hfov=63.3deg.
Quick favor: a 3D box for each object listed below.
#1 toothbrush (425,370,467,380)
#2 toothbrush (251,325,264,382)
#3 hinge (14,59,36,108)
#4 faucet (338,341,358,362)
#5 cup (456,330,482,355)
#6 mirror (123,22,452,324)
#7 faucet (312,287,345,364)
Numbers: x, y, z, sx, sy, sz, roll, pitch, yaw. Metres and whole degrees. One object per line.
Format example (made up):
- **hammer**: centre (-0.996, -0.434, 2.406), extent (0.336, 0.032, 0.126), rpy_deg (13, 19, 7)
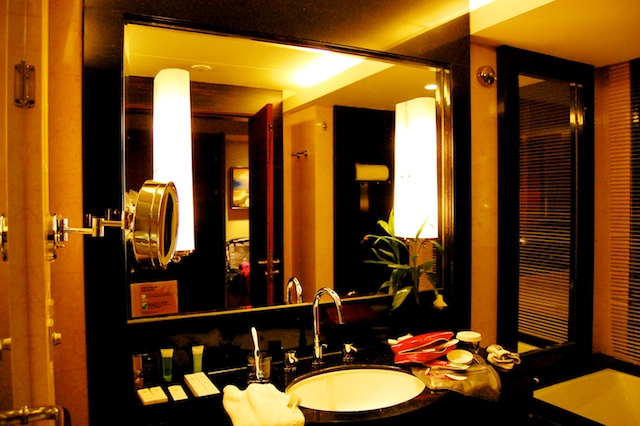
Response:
- **toothbrush**: centre (0.573, 0.734, 2.359), extent (0.179, 0.035, 0.053), rpy_deg (-4, 1, 14)
- **toothbrush**: centre (-0.278, 0.622, 2.306), extent (0.048, 0.231, 0.060), rpy_deg (-3, -3, -15)
- **hinge**: centre (-0.980, -0.431, 1.723), extent (0.067, 0.149, 0.024), rpy_deg (1, 9, -18)
- **faucet**: centre (0.148, 0.673, 2.521), extent (0.080, 0.055, 0.087), rpy_deg (0, -5, -11)
- **cup**: centre (0.750, 0.644, 2.650), extent (0.120, 0.111, 0.117), rpy_deg (0, -1, 0)
- **mirror**: centre (-0.065, -0.053, 2.629), extent (1.680, 1.166, 0.173), rpy_deg (0, 2, 33)
- **faucet**: centre (0.038, 0.533, 2.499), extent (0.168, 0.348, 0.295), rpy_deg (-4, 1, 2)
